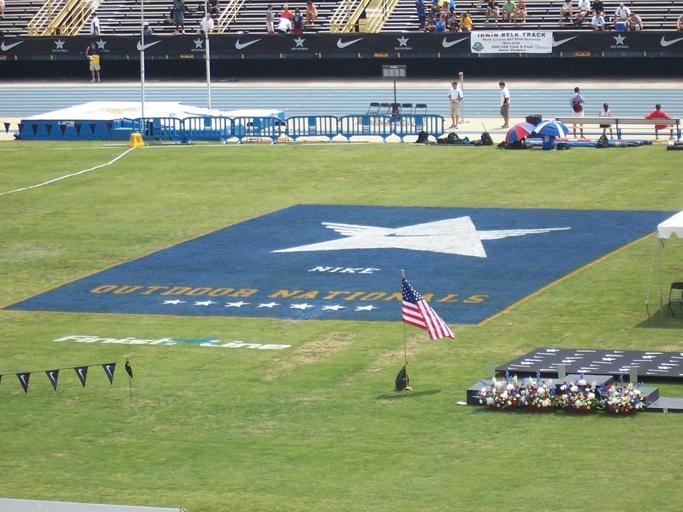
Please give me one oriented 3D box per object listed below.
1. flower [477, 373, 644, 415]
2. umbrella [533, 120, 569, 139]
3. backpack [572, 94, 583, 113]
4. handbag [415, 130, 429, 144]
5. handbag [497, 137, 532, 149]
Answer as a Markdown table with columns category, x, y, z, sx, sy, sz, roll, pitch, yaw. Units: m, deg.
| category | x | y | z | sx | sy | sz | roll | pitch | yaw |
| --- | --- | --- | --- | --- | --- | --- | --- | --- | --- |
| flower | 5.772 | 3.642 | 60.072 | 4.346 | 1.000 | 0.513 | -2 | 5 | 5 |
| umbrella | 7.723 | -4.842 | 83.801 | 1.159 | 0.670 | 1.486 | -2 | 5 | 5 |
| backpack | 9.129 | -6.114 | 88.380 | 0.418 | 0.691 | 0.733 | -2 | 5 | 4 |
| handbag | 3.127 | -4.619 | 85.353 | 0.516 | 0.429 | 0.507 | 0 | 6 | -8 |
| handbag | 6.318 | -4.279 | 83.171 | 1.231 | 0.416 | 0.523 | -1 | 5 | 8 |
